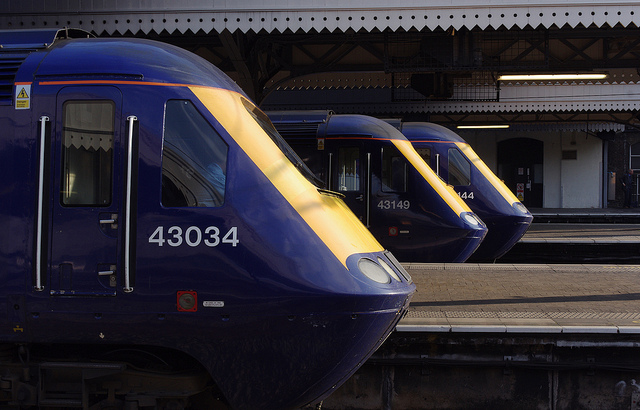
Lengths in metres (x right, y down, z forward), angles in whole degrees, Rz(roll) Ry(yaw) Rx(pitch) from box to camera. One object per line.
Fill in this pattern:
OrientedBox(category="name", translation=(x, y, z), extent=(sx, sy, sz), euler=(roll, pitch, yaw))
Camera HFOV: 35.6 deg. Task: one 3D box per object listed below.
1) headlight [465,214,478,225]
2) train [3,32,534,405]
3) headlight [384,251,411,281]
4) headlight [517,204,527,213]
OrientedBox(category="headlight", translation=(3.142, 0.319, 20.748), extent=(0.295, 0.205, 0.115), euler=(4, -4, -35))
OrientedBox(category="train", translation=(0.162, 0.533, 18.474), extent=(5.348, 5.854, 11.156), euler=(-1, -4, 36))
OrientedBox(category="headlight", translation=(1.232, 0.978, 15.883), extent=(0.124, 0.550, 0.276), euler=(-34, -19, 6))
OrientedBox(category="headlight", translation=(4.526, 0.100, 22.346), extent=(0.212, 0.191, 0.315), euler=(1, -4, 9))
